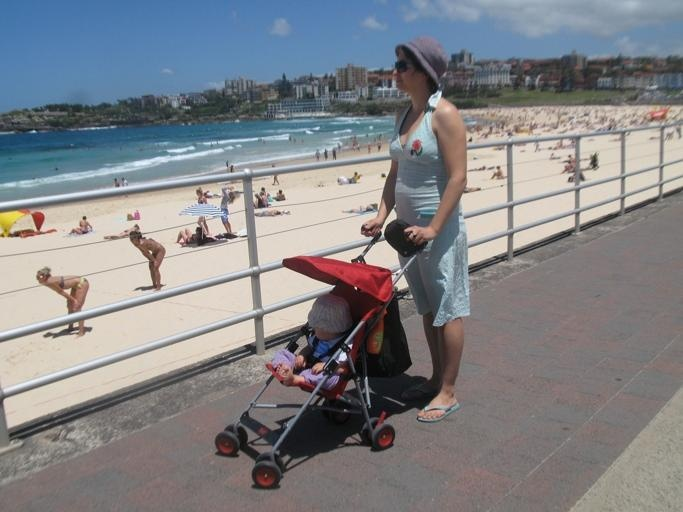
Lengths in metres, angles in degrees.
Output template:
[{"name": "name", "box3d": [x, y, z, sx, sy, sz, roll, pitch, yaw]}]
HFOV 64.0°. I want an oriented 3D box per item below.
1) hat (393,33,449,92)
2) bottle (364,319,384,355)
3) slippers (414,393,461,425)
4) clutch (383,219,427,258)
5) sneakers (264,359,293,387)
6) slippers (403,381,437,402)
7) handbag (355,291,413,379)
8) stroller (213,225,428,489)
[{"name": "hat", "box3d": [0.523, -1.204, 3.407, 0.336, 0.314, 0.326, -4, 18, 1]}, {"name": "bottle", "box3d": [0.215, 0.503, 3.392, 0.048, 0.197, 0.138, 3, 9, 23]}, {"name": "slippers", "box3d": [0.647, 1.015, 3.650, 0.269, 0.119, 0.130, -11, 3, -21]}, {"name": "clutch", "box3d": [0.397, -0.077, 3.383, 0.259, 0.188, 0.220, 29, -34, -36]}, {"name": "sneakers", "box3d": [-0.357, 0.727, 3.261, 0.070, 0.199, 0.142, -24, 24, -24]}, {"name": "slippers", "box3d": [0.557, 0.953, 3.894, 0.278, 0.077, 0.108, -3, 17, -14]}, {"name": "handbag", "box3d": [0.322, 0.480, 3.748, 0.489, 0.747, 0.350, -4, 18, 0]}, {"name": "stroller", "box3d": [-0.047, 0.515, 3.373, 1.359, 1.367, 0.674, -12, 19, -22]}]
